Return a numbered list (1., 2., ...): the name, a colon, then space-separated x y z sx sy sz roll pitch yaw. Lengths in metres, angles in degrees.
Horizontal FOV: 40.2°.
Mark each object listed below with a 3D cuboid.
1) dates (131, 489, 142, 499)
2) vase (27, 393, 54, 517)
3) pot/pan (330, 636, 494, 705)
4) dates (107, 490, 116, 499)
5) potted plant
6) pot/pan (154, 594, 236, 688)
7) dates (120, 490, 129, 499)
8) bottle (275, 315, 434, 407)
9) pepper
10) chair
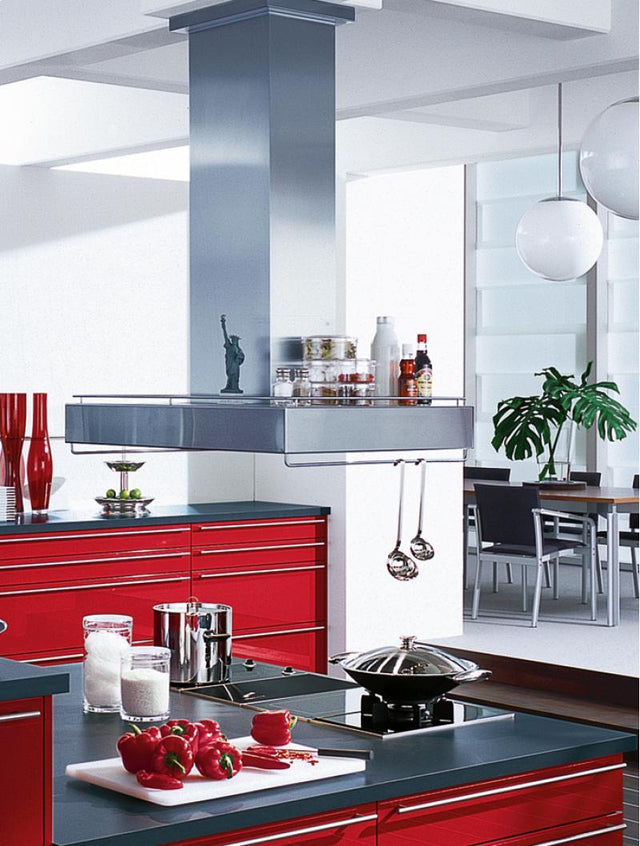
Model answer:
1. dates: -1.119 0.432 5.341 0.051 0.052 0.062 -2 -3 -3
2. vase: -1.598 0.181 5.004 0.146 0.729 0.327 6 -8 -19
3. pot/pan: 0.225 0.560 2.017 0.223 0.083 0.173 -1 0 27
4. dates: -1.261 0.430 5.321 0.044 0.055 0.057 3 -15 -44
5. potted plant: 2.434 -0.021 8.287 1.365 1.138 1.395 -7 -10 44
6. pot/pan: -0.328 0.597 2.382 0.186 0.173 0.242 0 -3 4
7. dates: -1.182 0.431 5.309 0.045 0.052 0.054 -1 -8 -5
8. bottle: 0.094 -0.122 1.969 0.320 0.193 0.208 1 -3 -16
9. pepper: -0.213 0.538 1.425 0.187 0.066 0.136 -2 2 10
10. chair: 1.979 1.042 7.378 1.605 1.064 0.882 -2 -4 45
